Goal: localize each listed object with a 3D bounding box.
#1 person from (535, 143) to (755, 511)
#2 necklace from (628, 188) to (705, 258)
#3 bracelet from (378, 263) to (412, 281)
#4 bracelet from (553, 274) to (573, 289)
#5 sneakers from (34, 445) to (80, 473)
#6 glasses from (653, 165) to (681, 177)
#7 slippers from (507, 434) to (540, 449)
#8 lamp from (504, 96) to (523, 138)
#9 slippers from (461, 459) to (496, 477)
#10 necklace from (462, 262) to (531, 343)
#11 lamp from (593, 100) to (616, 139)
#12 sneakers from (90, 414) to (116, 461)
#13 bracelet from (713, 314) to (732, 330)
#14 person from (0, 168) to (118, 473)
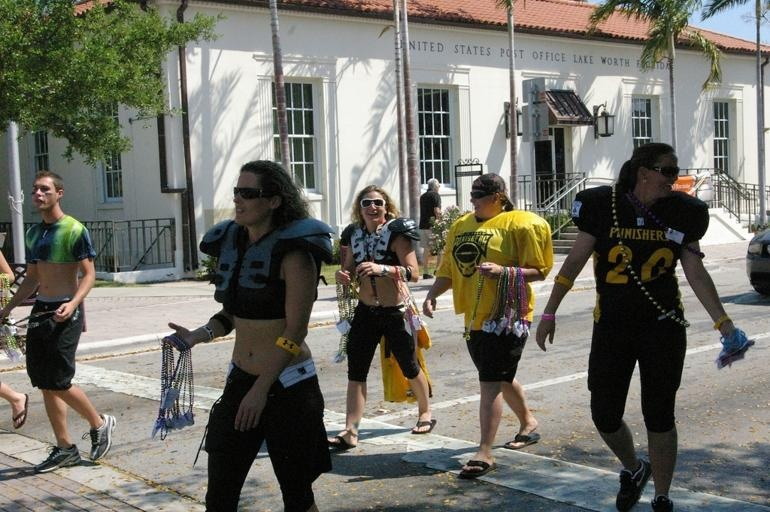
[{"bbox_3d":[2.154,0.610,7.324,1.508,3.109,0.508,1,4,21],"label":"person"},{"bbox_3d":[2.324,-0.255,7.193,0.725,0.098,0.107,44,-1,1],"label":"necklace"},{"bbox_3d":[0.113,0.166,8.850,0.231,0.097,0.177,7,1,-7],"label":"bracelet"},{"bbox_3d":[1.521,0.218,7.388,0.165,0.096,0.165,24,10,-8],"label":"bracelet"},{"bbox_3d":[-3.177,1.972,8.406,0.488,0.224,0.167,-5,7,-37],"label":"sneakers"},{"bbox_3d":[2.348,-0.695,7.202,0.239,0.094,0.090,-3,4,-31],"label":"glasses"},{"bbox_3d":[1.377,1.841,8.677,0.339,0.081,0.132,-3,4,-38],"label":"slippers"},{"bbox_3d":[4.091,-4.226,26.898,0.580,1.073,0.736,1,6,1],"label":"lamp"},{"bbox_3d":[0.838,1.964,8.014,0.258,0.085,0.135,0,0,-17],"label":"slippers"},{"bbox_3d":[1.086,0.449,8.284,0.710,0.809,0.186,4,4,2],"label":"necklace"},{"bbox_3d":[7.353,-4.532,28.994,0.971,1.172,0.457,-4,5,-43],"label":"lamp"},{"bbox_3d":[-2.810,1.820,8.648,0.176,0.519,0.249,-9,-23,40],"label":"sneakers"},{"bbox_3d":[2.790,0.545,7.164,0.136,0.059,0.111,-40,-15,17],"label":"bracelet"},{"bbox_3d":[-3.284,0.599,8.704,0.819,2.874,0.822,-3,4,-34],"label":"person"}]
